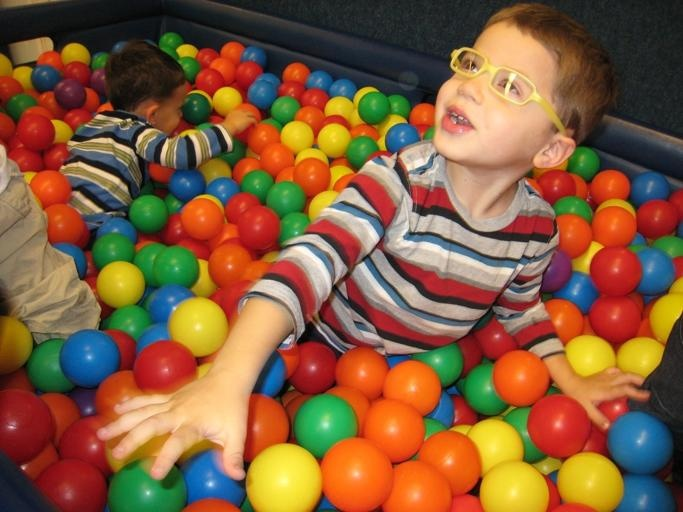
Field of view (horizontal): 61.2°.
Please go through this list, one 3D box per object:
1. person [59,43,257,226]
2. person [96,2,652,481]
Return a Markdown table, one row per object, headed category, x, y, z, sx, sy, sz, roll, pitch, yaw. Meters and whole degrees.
| category | x | y | z | sx | sy | sz | roll | pitch | yaw |
| --- | --- | --- | --- | --- | --- | --- | --- | --- | --- |
| person | -0.881 | -0.561 | 2.775 | 0.577 | 0.902 | 0.522 | -13 | 55 | -36 |
| person | 0.153 | -0.038 | 2.034 | 1.317 | 1.702 | 0.878 | 45 | 19 | 29 |
